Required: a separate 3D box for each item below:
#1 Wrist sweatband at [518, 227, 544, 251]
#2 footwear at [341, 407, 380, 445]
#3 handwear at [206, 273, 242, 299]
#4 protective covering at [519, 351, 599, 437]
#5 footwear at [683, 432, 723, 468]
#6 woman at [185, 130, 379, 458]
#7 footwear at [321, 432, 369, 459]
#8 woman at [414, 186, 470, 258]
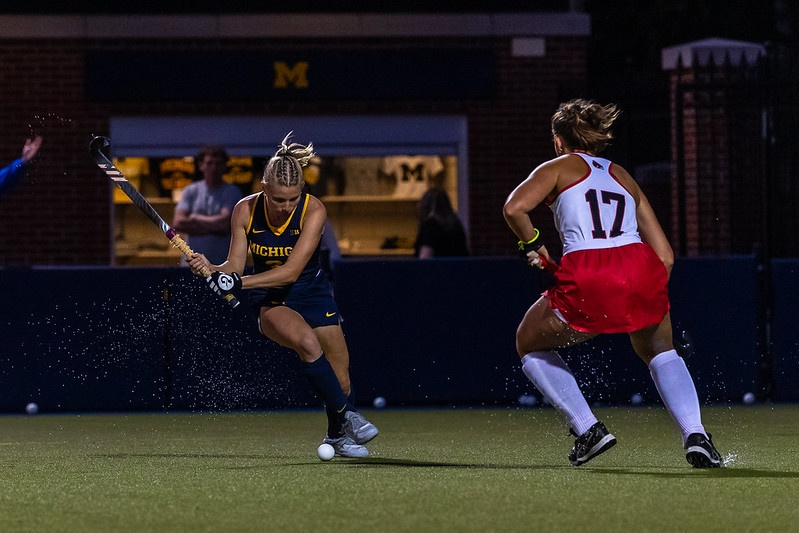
[{"bbox_3d":[0.995,-0.199,10.417,0.166,0.146,0.200,-2,9,5],"label":"Wrist sweatband"},{"bbox_3d":[-0.336,1.238,10.802,0.142,0.173,0.382,-40,20,-11],"label":"footwear"},{"bbox_3d":[-1.347,0.130,10.742,0.288,0.192,0.204,-2,3,3],"label":"handwear"},{"bbox_3d":[1.179,0.898,10.408,0.304,0.840,0.252,-34,-23,-3],"label":"protective covering"},{"bbox_3d":[2.228,1.371,10.256,0.150,0.173,0.389,-10,-20,32],"label":"footwear"},{"bbox_3d":[-0.845,0.259,10.878,1.161,2.490,0.627,-3,3,-8],"label":"woman"},{"bbox_3d":[-0.421,1.403,10.841,0.392,0.164,0.154,0,-1,12],"label":"footwear"},{"bbox_3d":[0.410,-0.456,14.331,0.529,0.701,0.258,-3,3,-1],"label":"woman"}]
